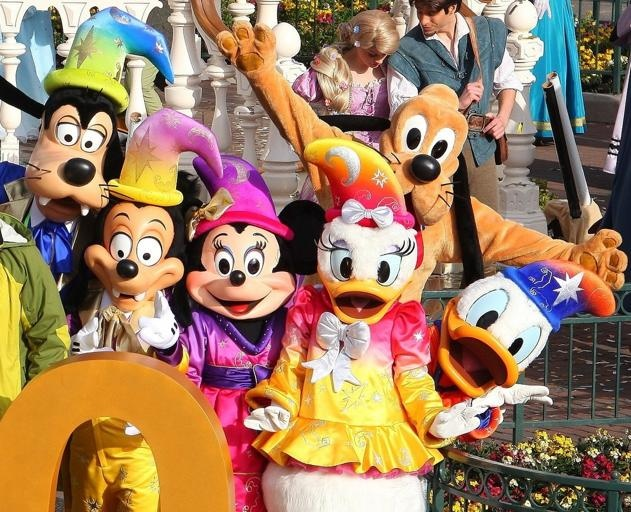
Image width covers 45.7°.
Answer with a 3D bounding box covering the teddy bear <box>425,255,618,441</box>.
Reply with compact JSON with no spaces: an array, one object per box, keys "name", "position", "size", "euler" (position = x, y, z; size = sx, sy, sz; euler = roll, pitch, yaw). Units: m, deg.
[{"name":"teddy bear","position":[0.880,0.421,3.149],"size":[0.502,0.743,0.470],"euler":[38,10,-6]}]
